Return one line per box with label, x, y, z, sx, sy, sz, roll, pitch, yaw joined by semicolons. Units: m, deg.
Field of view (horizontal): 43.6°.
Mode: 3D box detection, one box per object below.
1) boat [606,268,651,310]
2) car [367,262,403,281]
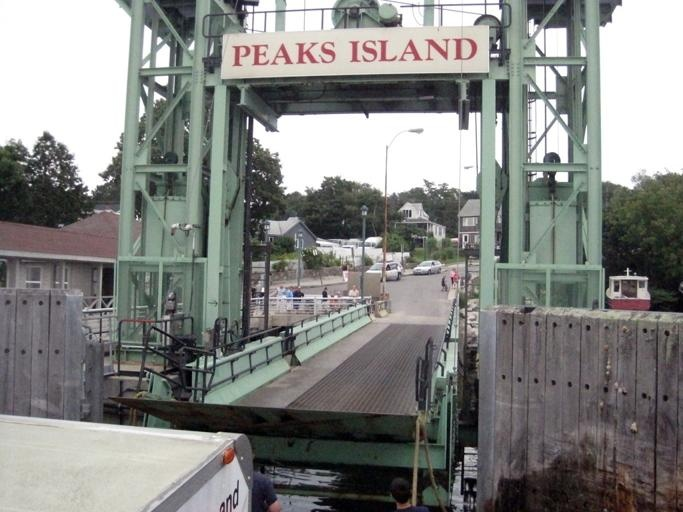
boat;15.182;1.724;44.996;1.709;2.220;4.572;-1;-3;17
car;3.427;0.940;59.904;1.039;1.082;2.540;-2;-5;26
